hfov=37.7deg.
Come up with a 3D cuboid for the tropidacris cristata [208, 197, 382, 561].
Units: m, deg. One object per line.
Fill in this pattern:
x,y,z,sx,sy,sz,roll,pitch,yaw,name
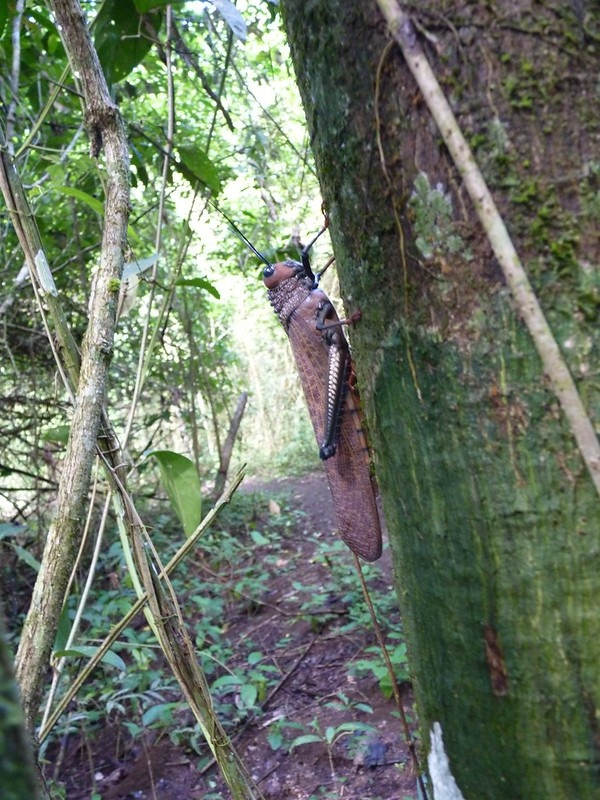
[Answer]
0.045,-0.097,1.741,0.267,0.783,0.246,-24,-14,40,tropidacris cristata
